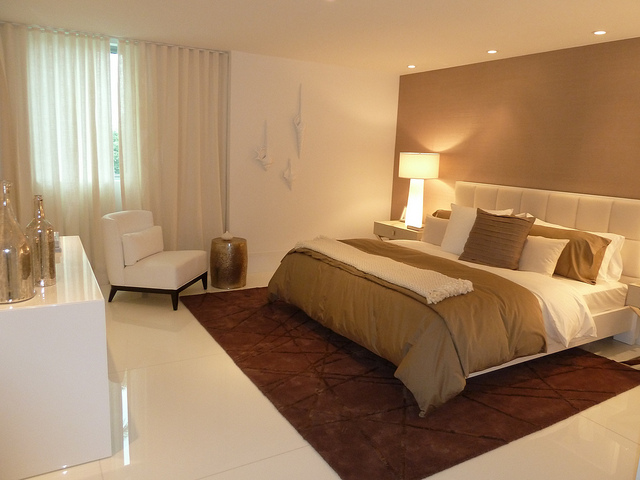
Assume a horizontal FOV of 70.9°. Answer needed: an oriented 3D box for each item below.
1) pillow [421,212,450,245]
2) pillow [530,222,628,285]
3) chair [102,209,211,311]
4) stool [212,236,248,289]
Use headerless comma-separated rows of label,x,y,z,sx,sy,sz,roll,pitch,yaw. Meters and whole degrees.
pillow,1.339,-0.120,5.241,0.100,0.325,0.331,12,7,-34
pillow,2.485,0.078,4.210,0.521,0.192,0.617,-3,29,0
chair,-1.792,0.136,4.995,1.029,0.891,1.085,8,12,31
stool,-1.082,0.272,5.367,0.463,0.517,0.466,-1,6,-11
